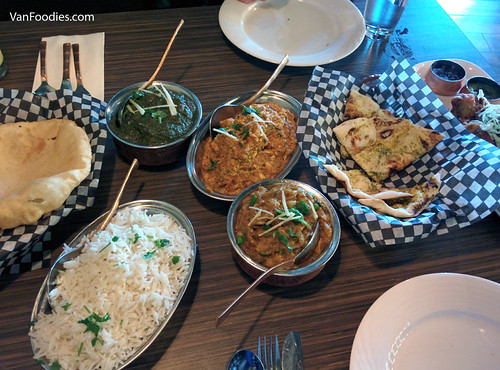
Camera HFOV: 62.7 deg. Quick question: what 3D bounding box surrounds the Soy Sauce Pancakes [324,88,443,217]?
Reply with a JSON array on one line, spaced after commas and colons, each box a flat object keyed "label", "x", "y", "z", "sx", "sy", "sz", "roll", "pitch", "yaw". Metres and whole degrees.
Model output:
[{"label": "Soy Sauce Pancakes", "x": 0.959, "y": -0.243, "z": 3.173, "sx": 0.853, "sy": 0.175, "sz": 0.792, "roll": 16, "pitch": 76, "yaw": 8}]

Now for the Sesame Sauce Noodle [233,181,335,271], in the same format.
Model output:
[{"label": "Sesame Sauce Noodle", "x": 0.176, "y": 0.272, "z": 2.582, "sx": 0.555, "sy": 0.246, "sz": 0.508, "roll": -5, "pitch": 79, "yaw": 6}]

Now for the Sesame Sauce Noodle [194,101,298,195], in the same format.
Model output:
[{"label": "Sesame Sauce Noodle", "x": 0.004, "y": -0.289, "z": 3.077, "sx": 0.808, "sy": 0.262, "sz": 0.666, "roll": -35, "pitch": 48, "yaw": -12}]
